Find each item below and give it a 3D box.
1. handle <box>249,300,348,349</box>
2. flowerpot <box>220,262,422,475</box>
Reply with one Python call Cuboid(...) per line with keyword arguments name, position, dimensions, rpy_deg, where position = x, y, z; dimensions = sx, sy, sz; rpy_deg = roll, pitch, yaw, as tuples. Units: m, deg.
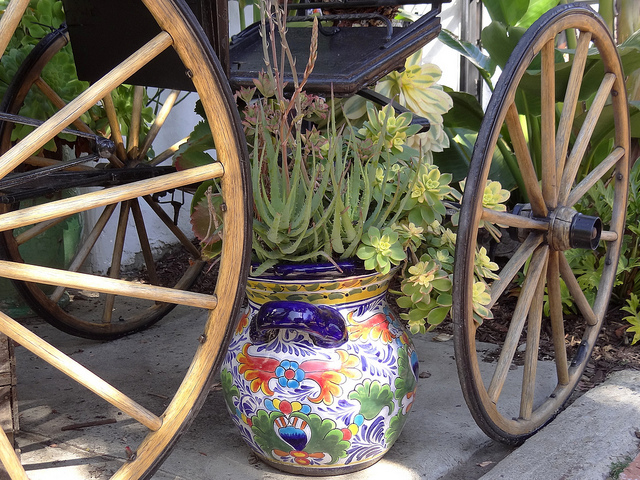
Cuboid(name="handle", position=(-0.058, 0.171, 1.432), dimensions=(0.183, 0.086, 0.109), rpy_deg=(-7, 9, -35))
Cuboid(name="flowerpot", position=(0.023, 0.294, 1.628), dimensions=(0.458, 0.473, 0.570), rpy_deg=(-1, 0, 36))
